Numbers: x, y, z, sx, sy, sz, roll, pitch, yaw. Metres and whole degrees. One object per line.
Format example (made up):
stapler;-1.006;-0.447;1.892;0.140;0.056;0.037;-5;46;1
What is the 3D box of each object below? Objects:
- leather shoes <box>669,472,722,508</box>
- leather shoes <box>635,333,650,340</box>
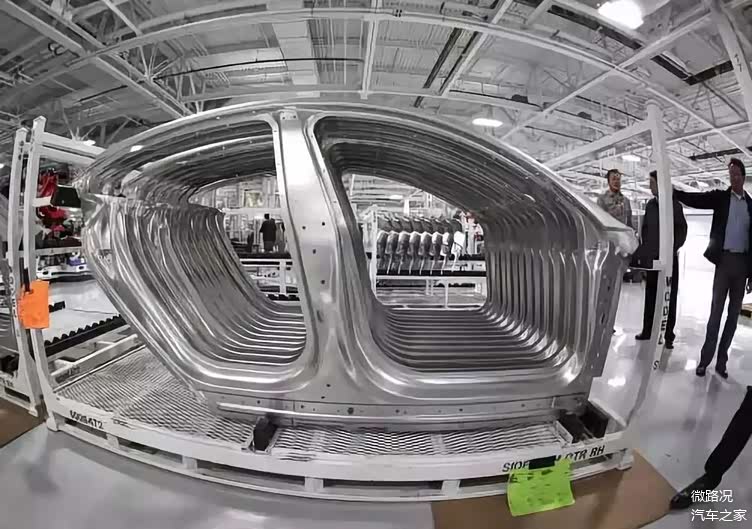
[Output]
leather shoes;2.542;1.728;3.010;0.327;0.101;0.106;-32;7;-3
leather shoes;3.698;0.953;5.239;0.221;0.084;0.077;4;-6;-23
